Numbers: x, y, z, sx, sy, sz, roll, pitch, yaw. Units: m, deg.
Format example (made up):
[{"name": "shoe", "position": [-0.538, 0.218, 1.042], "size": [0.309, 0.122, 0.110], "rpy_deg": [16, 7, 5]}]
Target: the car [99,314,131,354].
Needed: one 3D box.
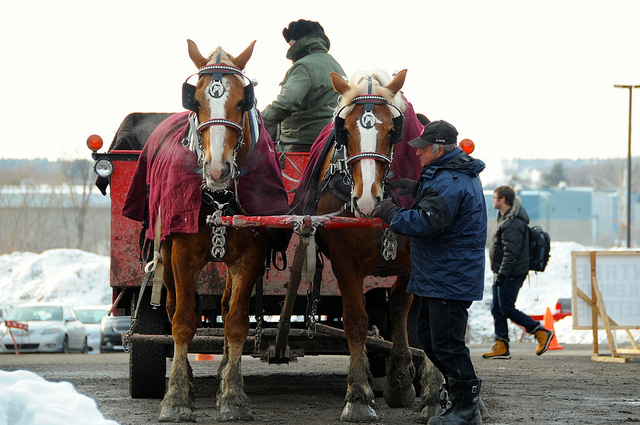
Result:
[{"name": "car", "position": [-6.067, 3.615, 34.612], "size": [0.857, 1.041, 1.882], "rpy_deg": [0, -6, -10]}]

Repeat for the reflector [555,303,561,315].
[{"name": "reflector", "position": [6.669, 2.688, 32.665], "size": [0.264, 0.363, 0.268], "rpy_deg": [-2, 5, 6]}]

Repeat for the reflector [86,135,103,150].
[{"name": "reflector", "position": [-4.226, -1.323, 22.041], "size": [0.268, 0.285, 0.211], "rpy_deg": [0, -6, -11]}]

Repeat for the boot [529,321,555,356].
[{"name": "boot", "position": [4.674, 2.638, 24.608], "size": [0.525, 0.647, 0.479], "rpy_deg": [-4, -6, 25]}]

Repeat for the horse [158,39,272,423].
[{"name": "horse", "position": [-3.376, 0.309, 20.559], "size": [3.065, 6.123, 5.413], "rpy_deg": [0, -2, -7]}]

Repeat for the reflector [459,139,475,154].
[{"name": "reflector", "position": [2.796, -1.242, 22.282], "size": [0.261, 0.288, 0.237], "rpy_deg": [-2, -6, 7]}]

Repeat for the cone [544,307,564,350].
[{"name": "cone", "position": [5.894, 2.950, 29.384], "size": [0.779, 0.923, 0.812], "rpy_deg": [-5, -13, 9]}]

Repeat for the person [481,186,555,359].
[{"name": "person", "position": [4.128, 1.207, 25.204], "size": [0.958, 3.583, 1.404], "rpy_deg": [0, -6, -7]}]

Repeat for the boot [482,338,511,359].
[{"name": "boot", "position": [3.854, 3.068, 26.151], "size": [0.843, 0.603, 0.316], "rpy_deg": [1, 2, -2]}]
